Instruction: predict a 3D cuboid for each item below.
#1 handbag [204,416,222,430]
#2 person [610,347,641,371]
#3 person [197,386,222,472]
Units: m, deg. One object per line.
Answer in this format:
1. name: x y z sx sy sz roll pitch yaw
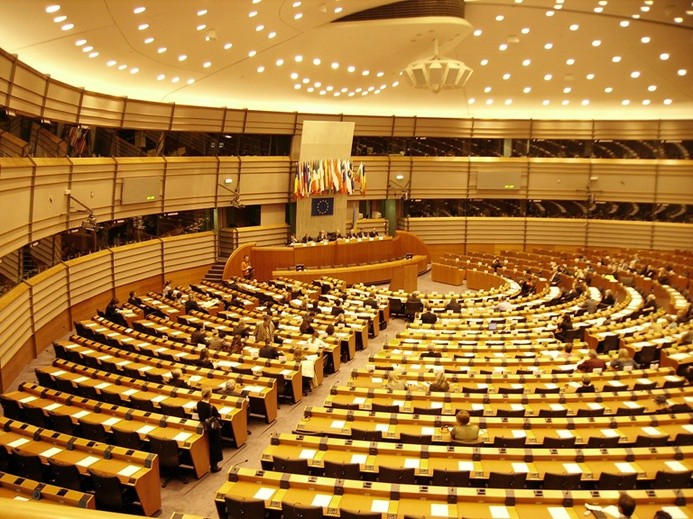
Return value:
1. handbag: -2.728 3.355 10.206 0.399 0.297 0.227 6 14 -5
2. person: 7.815 2.809 13.872 0.425 0.721 0.408 7 34 21
3. person: -2.886 3.638 10.447 0.570 1.699 0.812 5 -13 -11
